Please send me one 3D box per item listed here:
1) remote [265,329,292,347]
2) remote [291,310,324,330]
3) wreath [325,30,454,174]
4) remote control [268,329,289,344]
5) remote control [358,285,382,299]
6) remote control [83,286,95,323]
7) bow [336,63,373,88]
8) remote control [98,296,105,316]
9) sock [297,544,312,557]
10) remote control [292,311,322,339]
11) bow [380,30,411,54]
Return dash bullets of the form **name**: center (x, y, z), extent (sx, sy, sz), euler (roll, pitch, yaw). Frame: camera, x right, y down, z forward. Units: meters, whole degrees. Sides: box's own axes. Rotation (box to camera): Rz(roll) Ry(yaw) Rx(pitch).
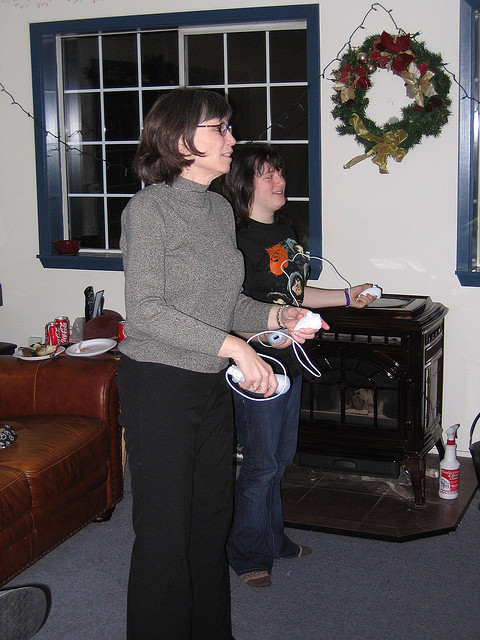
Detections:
- **remote**: center (0.100, 0.046, 1.416), extent (0.064, 0.019, 0.035), euler (38, -22, -27)
- **remote**: center (0.162, 0.007, 1.287), extent (0.055, 0.038, 0.022), euler (-37, -20, -2)
- **wreath**: center (0.769, -1.151, 2.872), extent (0.657, 0.712, 0.198), euler (1, 5, 20)
- **remote control**: center (0.101, 0.043, 1.437), extent (0.052, 0.013, 0.029), euler (-31, -41, 11)
- **remote control**: center (0.530, -0.113, 2.199), extent (0.125, 0.040, 0.036), euler (-6, 7, -40)
- **remote control**: center (-0.846, -0.088, 3.071), extent (0.008, 0.198, 0.048), euler (9, 3, 44)
- **bow**: center (0.611, -1.291, 2.864), extent (0.141, 0.138, 0.047), euler (15, 31, 31)
- **remote control**: center (-0.794, -0.089, 3.141), extent (0.028, 0.091, 0.035), euler (10, -10, -12)
- **sock**: center (0.250, 0.892, 2.102), extent (0.064, 0.025, 0.021), euler (-4, 35, 14)
- **remote control**: center (0.153, 0.005, 1.254), extent (0.051, 0.037, 0.021), euler (-35, -17, 9)
- **bow**: center (0.793, -1.407, 2.737), extent (0.118, 0.110, 0.056), euler (6, 12, 9)
